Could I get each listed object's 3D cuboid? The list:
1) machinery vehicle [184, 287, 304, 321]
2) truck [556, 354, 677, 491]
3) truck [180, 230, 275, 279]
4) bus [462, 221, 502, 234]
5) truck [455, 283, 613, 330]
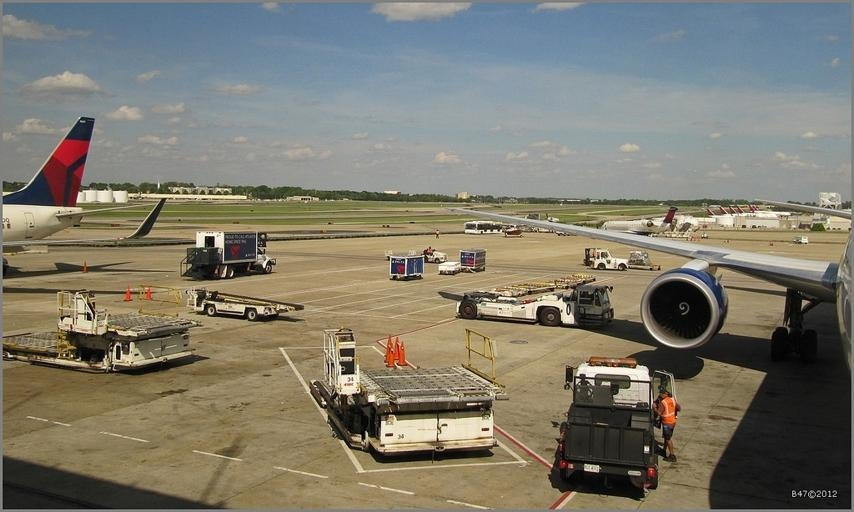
[{"bbox_3d":[-11.957,3.010,40.471,8.227,1.491,2.638,3,10,18],"label":"machinery vehicle"},{"bbox_3d":[6.787,5.629,23.394,3.840,2.586,5.183,1,7,14],"label":"truck"},{"bbox_3d":[-17.362,-0.172,56.521,2.679,4.007,7.366,6,7,30],"label":"truck"},{"bbox_3d":[11.758,-5.591,125.191,8.598,1.963,2.716,-3,11,-21],"label":"bus"},{"bbox_3d":[7.457,3.195,40.206,10.723,2.159,3.366,1,6,16],"label":"truck"}]
